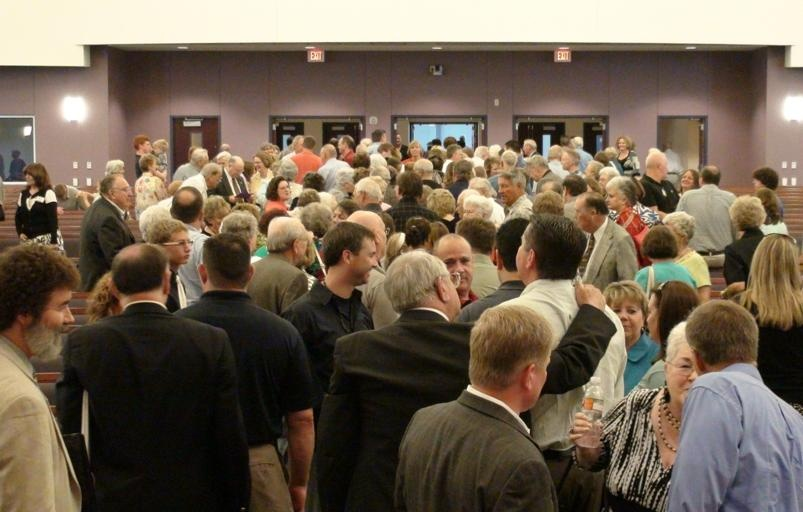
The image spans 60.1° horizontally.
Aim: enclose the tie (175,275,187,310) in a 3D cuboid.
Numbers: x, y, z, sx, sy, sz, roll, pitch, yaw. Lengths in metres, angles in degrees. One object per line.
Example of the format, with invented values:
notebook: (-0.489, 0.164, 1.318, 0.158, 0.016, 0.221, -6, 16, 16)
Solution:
tie: (-1.650, 0.276, 5.213, 0.048, 0.229, 0.166, -6, 4, 3)
